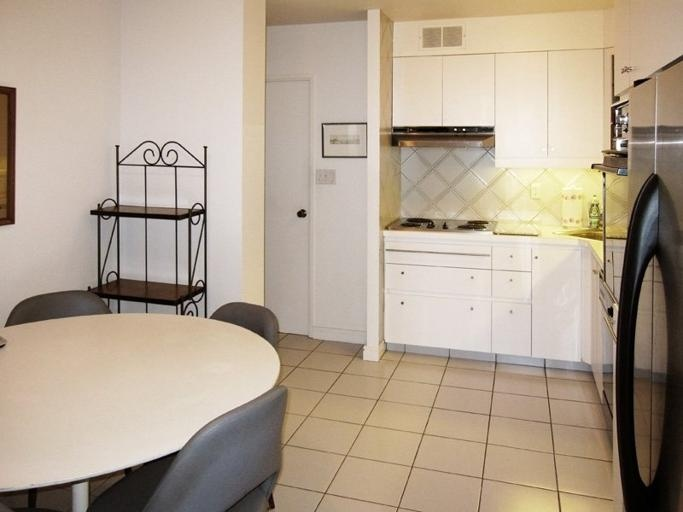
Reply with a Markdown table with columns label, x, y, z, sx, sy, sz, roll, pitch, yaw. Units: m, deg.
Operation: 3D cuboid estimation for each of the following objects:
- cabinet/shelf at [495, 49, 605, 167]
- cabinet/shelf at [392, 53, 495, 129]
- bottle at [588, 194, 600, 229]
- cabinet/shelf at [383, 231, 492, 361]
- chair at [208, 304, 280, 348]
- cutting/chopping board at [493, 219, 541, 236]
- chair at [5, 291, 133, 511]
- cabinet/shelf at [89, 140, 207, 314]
| label | x | y | z | sx | sy | sz | roll | pitch | yaw |
| --- | --- | --- | --- | --- | --- | --- | --- | --- | --- |
| cabinet/shelf | 1.687 | -1.189 | 4.555 | 0.828 | 1.023 | 0.328 | 1 | -7 | 13 |
| cabinet/shelf | 0.870 | -1.359 | 4.824 | 0.864 | 0.655 | 0.504 | 1 | -7 | 8 |
| bottle | 2.115 | -0.367 | 4.560 | 0.090 | 0.264 | 0.168 | 4 | 11 | 19 |
| cabinet/shelf | 0.896 | 0.358 | 4.901 | 1.153 | 1.262 | 0.809 | 0 | 0 | 20 |
| chair | -0.483 | 0.330 | 2.826 | 0.278 | 0.316 | 0.241 | 2 | -1 | 15 |
| cutting/chopping board | 1.462 | -0.235 | 4.558 | 0.356 | 0.049 | 0.603 | 4 | 13 | 18 |
| chair | -1.768 | 0.681 | 3.186 | 0.799 | 1.296 | 0.867 | 0 | -3 | -33 |
| cabinet/shelf | -1.364 | -0.166 | 3.811 | 0.858 | 1.263 | 0.446 | 3 | 11 | 17 |
